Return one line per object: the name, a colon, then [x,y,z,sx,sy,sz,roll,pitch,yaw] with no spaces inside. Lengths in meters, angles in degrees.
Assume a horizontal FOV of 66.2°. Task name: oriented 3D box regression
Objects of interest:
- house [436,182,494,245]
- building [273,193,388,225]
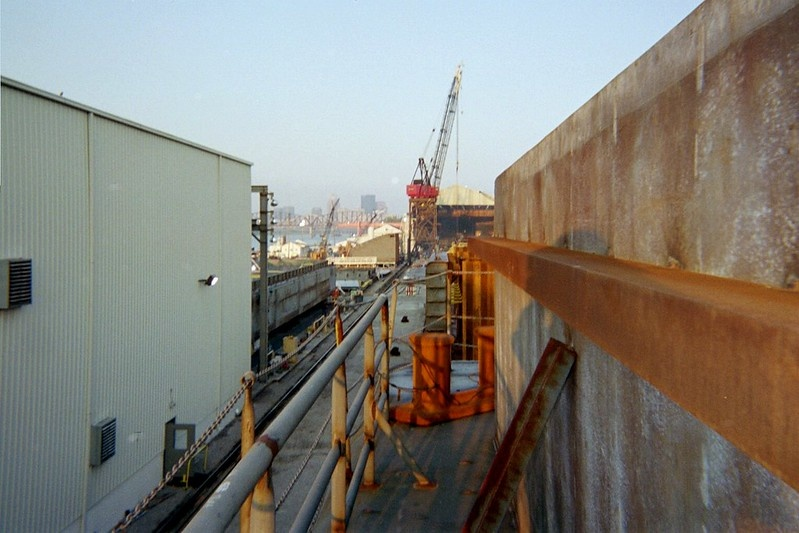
house: [11.104,-6.768,105.044,11.805,10.735,12.535,0,10,7]
building: [-23.575,-19.067,225.249,33.102,16.165,53.938,-1,3,-1]
